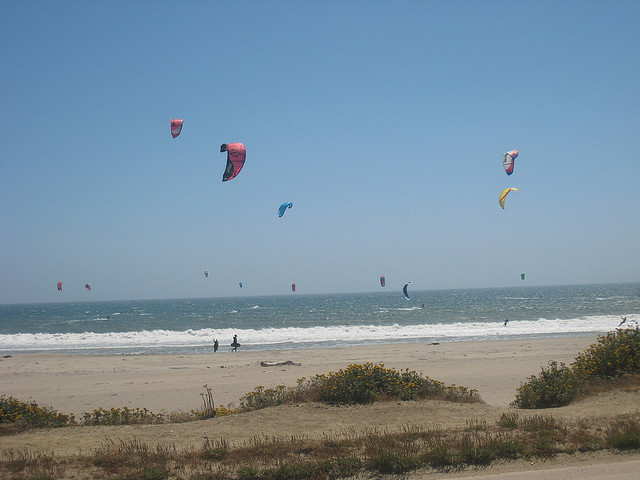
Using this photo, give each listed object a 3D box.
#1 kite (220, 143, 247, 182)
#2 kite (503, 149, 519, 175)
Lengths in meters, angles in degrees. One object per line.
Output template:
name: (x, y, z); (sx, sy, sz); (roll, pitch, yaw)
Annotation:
kite: (-2.937, -2.749, 25.039); (0.710, 1.308, 1.870); (0, -9, -2)
kite: (7.688, -3.175, 30.657); (0.500, 1.338, 2.440); (-2, -9, 14)
